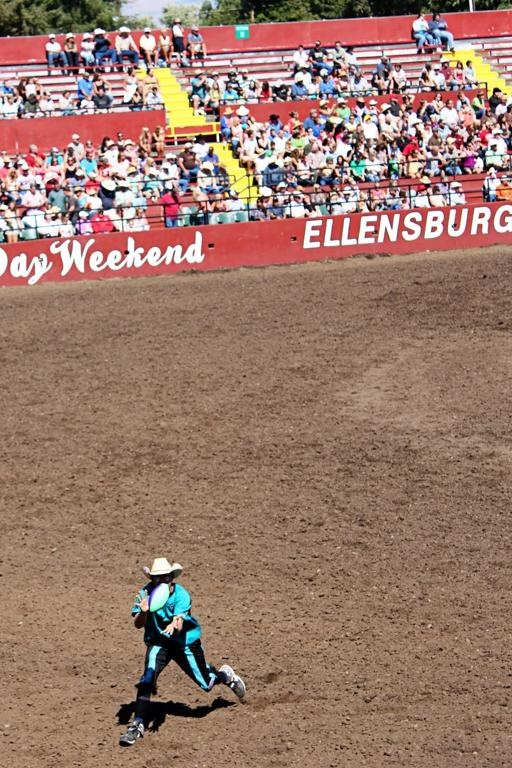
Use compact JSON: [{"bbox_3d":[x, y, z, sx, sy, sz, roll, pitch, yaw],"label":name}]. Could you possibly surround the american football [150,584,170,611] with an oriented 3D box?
[{"bbox_3d":[-0.967,2.147,12.542,0.166,0.259,0.157,33,-19,-12],"label":"american football"}]
